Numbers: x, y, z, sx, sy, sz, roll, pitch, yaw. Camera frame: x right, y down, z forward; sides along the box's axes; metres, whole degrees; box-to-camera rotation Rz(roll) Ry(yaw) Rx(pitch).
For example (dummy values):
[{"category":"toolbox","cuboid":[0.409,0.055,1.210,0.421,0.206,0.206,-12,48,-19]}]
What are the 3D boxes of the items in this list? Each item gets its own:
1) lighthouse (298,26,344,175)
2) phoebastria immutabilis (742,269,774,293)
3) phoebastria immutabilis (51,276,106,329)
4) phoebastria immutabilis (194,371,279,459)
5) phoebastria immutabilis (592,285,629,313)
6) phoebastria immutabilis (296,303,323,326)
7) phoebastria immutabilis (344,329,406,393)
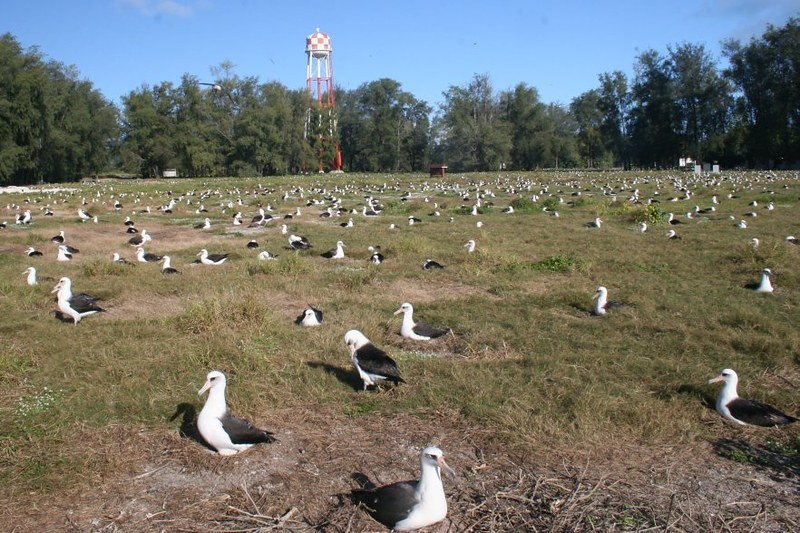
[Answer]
[{"category":"lighthouse","cuboid":[-9.737,-21.040,92.349,5.716,17.528,5.620,4,8,44]},{"category":"phoebastria immutabilis","cuboid":[10.457,0.367,21.762,0.781,0.782,0.613,-14,19,-27]},{"category":"phoebastria immutabilis","cuboid":[-8.287,0.843,19.460,1.212,1.152,0.648,0,15,-26]},{"category":"phoebastria immutabilis","cuboid":[-3.611,3.236,16.349,1.882,1.925,1.011,8,0,-36]},{"category":"phoebastria immutabilis","cuboid":[5.686,0.866,20.652,1.029,0.743,0.782,-13,19,-41]},{"category":"phoebastria immutabilis","cuboid":[-2.352,1.278,19.554,0.749,0.376,0.689,-6,15,-21]},{"category":"phoebastria immutabilis","cuboid":[-0.639,2.175,17.219,1.307,1.325,0.541,1,13,4]}]
